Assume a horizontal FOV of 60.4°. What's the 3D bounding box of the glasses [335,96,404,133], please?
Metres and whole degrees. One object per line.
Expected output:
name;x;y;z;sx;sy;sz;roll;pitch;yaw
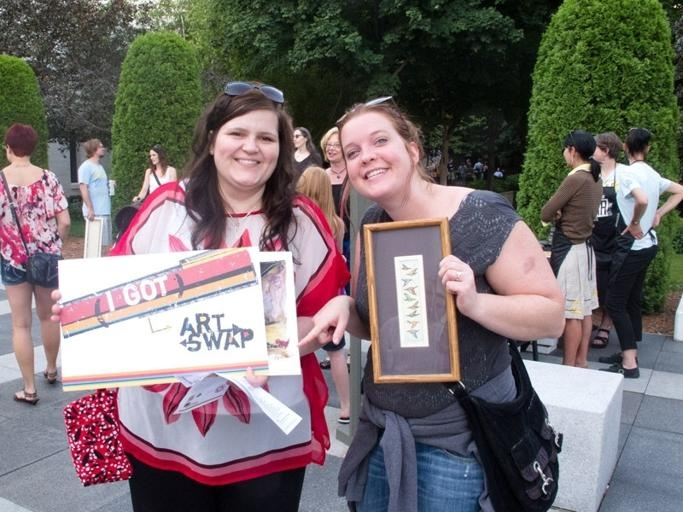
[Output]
glasses;0.134;-0.586;2.567;0.179;0.192;0.050;-18;2;4

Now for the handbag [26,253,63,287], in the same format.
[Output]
handbag;-2.469;0.103;4.839;0.244;0.255;0.127;5;6;-42

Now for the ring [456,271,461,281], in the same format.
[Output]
ring;0.443;0.073;2.240;0.017;0.030;0.027;0;6;6

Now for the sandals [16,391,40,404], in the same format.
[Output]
sandals;-2.807;1.253;5.247;0.188;0.096;0.100;14;9;24

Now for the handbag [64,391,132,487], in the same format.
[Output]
handbag;-1.096;0.813;2.618;0.260;0.471;0.134;-8;-10;-8

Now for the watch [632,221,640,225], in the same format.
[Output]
watch;3.030;-0.354;6.061;0.077;0.037;0.040;1;6;-5
